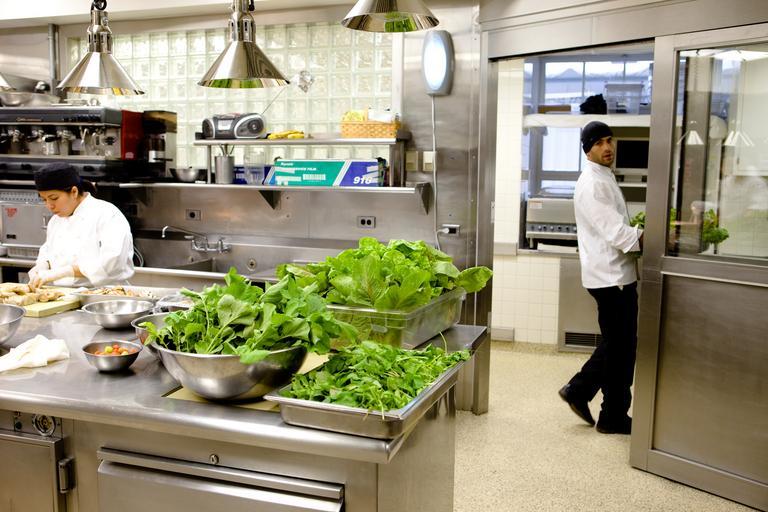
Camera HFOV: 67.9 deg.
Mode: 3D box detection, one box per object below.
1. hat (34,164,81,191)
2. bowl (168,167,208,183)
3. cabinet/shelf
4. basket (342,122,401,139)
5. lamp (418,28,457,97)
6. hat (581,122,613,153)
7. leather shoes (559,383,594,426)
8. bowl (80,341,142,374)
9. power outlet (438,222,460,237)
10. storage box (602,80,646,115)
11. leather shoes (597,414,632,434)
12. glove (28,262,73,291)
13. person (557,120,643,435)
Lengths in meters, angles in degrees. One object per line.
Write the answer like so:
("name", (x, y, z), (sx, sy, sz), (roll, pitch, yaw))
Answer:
("hat", (-2.136, -0.512, 3.741), (0.220, 0.119, 0.213), (2, 10, 19))
("bowl", (-1.718, -0.716, 5.052), (0.190, 0.056, 0.182), (0, -3, 0))
("cabinet/shelf", (-0.594, -0.675, 4.697), (2.024, 0.660, 0.511), (3, 14, 14))
("basket", (-0.103, -0.962, 4.361), (0.435, 0.129, 0.174), (-1, 13, -3))
("lamp", (0.417, -1.478, 4.386), (0.236, 0.477, 0.103), (2, 14, 7))
("hat", (1.615, -0.888, 4.352), (0.221, 0.195, 0.243), (-16, 1, 7))
("leather shoes", (1.418, 1.094, 4.199), (0.148, 0.351, 0.119), (-43, 13, 2))
("bowl", (-1.158, 0.422, 2.428), (0.240, 0.102, 0.187), (12, 17, 42))
("power outlet", (0.528, -0.208, 4.522), (0.168, 0.084, 0.058), (1, 14, 30))
("storage box", (2.637, -1.721, 6.221), (0.461, 0.434, 0.432), (3, 11, 9))
("leather shoes", (1.606, 1.212, 4.123), (0.319, 0.123, 0.103), (-2, 3, -3))
("glove", (-2.076, 0.140, 3.502), (0.236, 0.073, 0.180), (-4, 18, -1))
("person", (1.591, 0.158, 4.113), (0.500, 2.173, 0.816), (4, 14, 17))
